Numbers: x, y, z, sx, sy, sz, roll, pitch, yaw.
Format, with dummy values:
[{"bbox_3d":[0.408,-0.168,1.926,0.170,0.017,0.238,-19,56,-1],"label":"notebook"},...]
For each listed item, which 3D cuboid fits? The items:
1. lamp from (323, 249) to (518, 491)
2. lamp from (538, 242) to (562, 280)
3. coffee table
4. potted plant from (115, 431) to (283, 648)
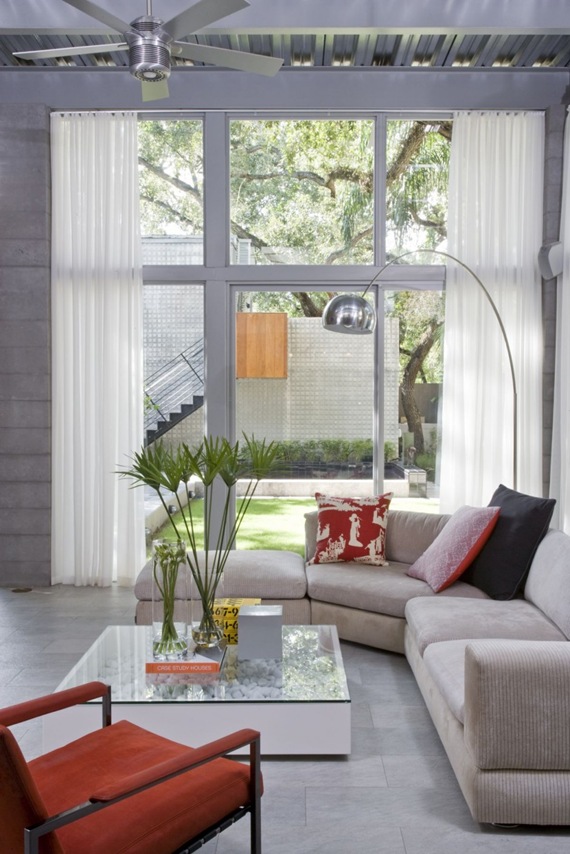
[{"bbox_3d":[0.860,-0.404,4.373,0.957,1.633,1.903,0,2,17],"label":"lamp"},{"bbox_3d":[1.733,-1.092,4.923,0.142,0.221,0.235,0,2,11],"label":"lamp"},{"bbox_3d":[-0.400,1.171,2.906,1.149,1.108,0.252,12,43,-27],"label":"coffee table"},{"bbox_3d":[-0.388,0.380,3.272,0.887,1.037,0.947,-1,-3,0],"label":"potted plant"}]
